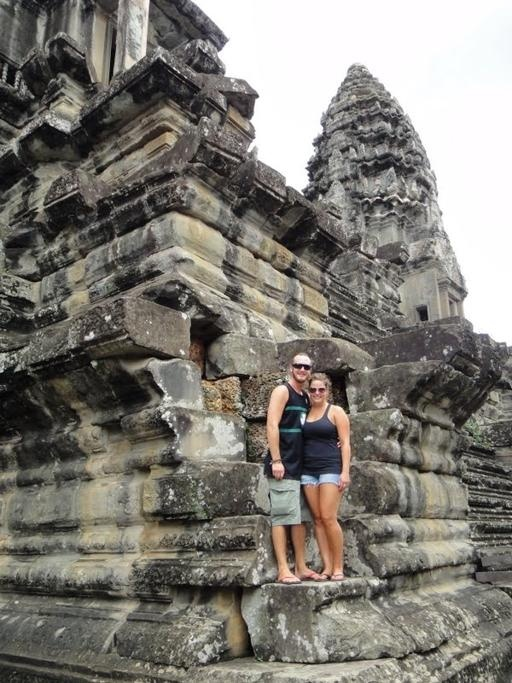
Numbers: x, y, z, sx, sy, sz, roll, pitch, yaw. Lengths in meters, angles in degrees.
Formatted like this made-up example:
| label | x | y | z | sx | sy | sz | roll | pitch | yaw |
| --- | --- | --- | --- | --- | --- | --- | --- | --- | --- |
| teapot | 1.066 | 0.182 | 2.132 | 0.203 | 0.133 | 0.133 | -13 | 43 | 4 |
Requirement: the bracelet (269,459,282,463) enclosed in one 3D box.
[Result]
| label | x | y | z | sx | sy | sz | roll | pitch | yaw |
| --- | --- | --- | --- | --- | --- | --- | --- | --- | --- |
| bracelet | 0.086 | 0.568 | 2.489 | 0.050 | 0.023 | 0.040 | -7 | -18 | 11 |

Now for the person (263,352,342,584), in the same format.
| label | x | y | z | sx | sy | sz | roll | pitch | yaw |
| --- | --- | --- | --- | --- | --- | --- | --- | --- | --- |
| person | 0.164 | 0.568 | 2.534 | 0.268 | 1.076 | 0.473 | -3 | -18 | 1 |

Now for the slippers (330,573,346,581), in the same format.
| label | x | y | z | sx | sy | sz | roll | pitch | yaw |
| --- | --- | --- | --- | --- | --- | --- | --- | --- | --- |
| slippers | 0.354 | 1.049 | 2.334 | 0.062 | 0.020 | 0.200 | -5 | -18 | 6 |

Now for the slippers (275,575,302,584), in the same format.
| label | x | y | z | sx | sy | sz | roll | pitch | yaw |
| --- | --- | --- | --- | --- | --- | --- | --- | --- | --- |
| slippers | 0.131 | 1.006 | 2.215 | 0.095 | 0.024 | 0.156 | -3 | -18 | -1 |

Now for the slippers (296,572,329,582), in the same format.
| label | x | y | z | sx | sy | sz | roll | pitch | yaw |
| --- | --- | --- | --- | --- | --- | --- | --- | --- | --- |
| slippers | 0.253 | 1.059 | 2.395 | 0.138 | 0.036 | 0.055 | -7 | -9 | 26 |

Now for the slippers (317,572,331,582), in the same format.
| label | x | y | z | sx | sy | sz | roll | pitch | yaw |
| --- | --- | --- | --- | --- | --- | --- | --- | --- | --- |
| slippers | 0.305 | 1.073 | 2.394 | 0.049 | 0.037 | 0.136 | -3 | -18 | 7 |
